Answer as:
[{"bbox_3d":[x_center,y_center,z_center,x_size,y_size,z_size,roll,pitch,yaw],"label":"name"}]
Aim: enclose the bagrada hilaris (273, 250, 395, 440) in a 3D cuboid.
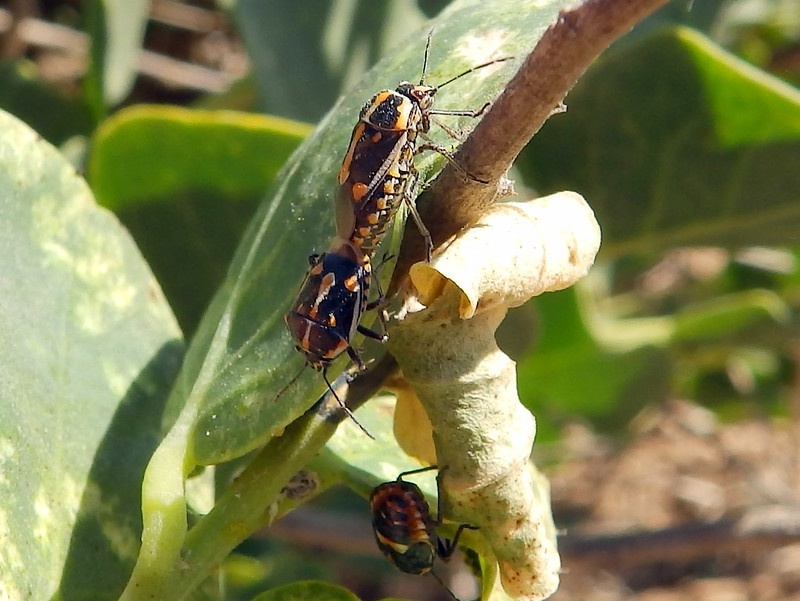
[{"bbox_3d":[-0.147,0.093,2.231,0.225,0.080,0.326,18,85,31],"label":"bagrada hilaris"}]
